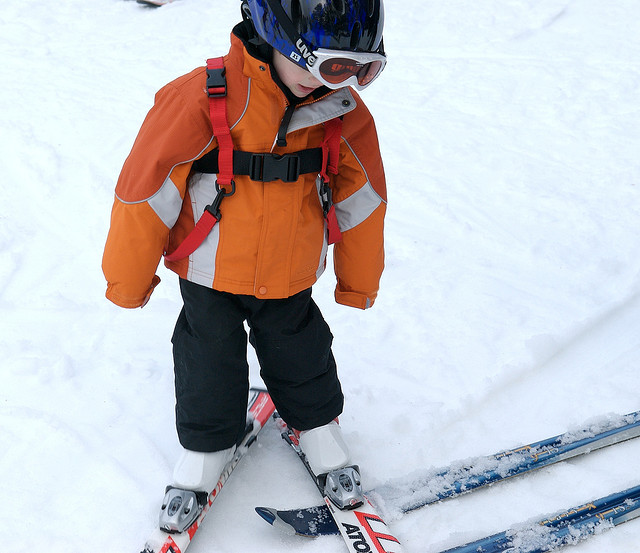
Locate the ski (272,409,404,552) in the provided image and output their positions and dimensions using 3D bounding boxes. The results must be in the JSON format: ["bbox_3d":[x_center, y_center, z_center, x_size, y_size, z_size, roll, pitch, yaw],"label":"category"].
[{"bbox_3d":[0.084,0.821,2.710,0.106,0.080,0.768,-6,37,-22],"label":"ski"}]

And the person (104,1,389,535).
[{"bbox_3d":[-0.217,-0.044,2.427,1.194,1.716,0.791,-24,44,-20],"label":"person"}]
